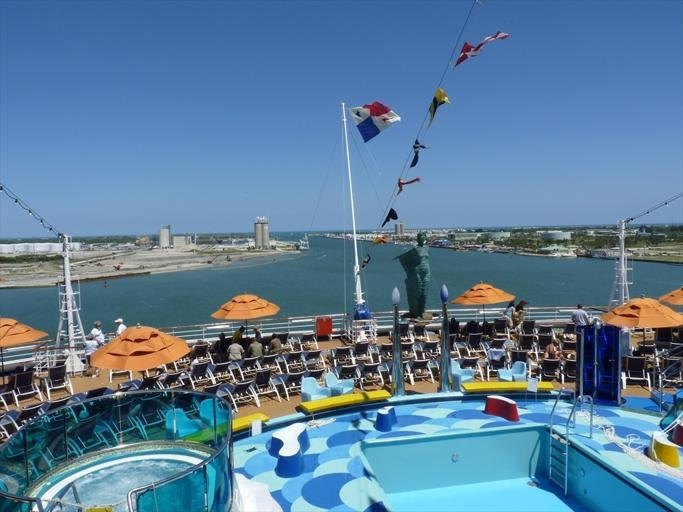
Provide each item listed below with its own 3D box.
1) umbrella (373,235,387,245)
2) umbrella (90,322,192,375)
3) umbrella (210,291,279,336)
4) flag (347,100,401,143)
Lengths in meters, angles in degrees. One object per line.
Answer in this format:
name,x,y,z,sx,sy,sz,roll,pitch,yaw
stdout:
umbrella,1.256,-0.554,18.605,0.246,0.411,0.686,7,6,21
umbrella,-4.736,2.170,12.937,1.562,0.601,1.526,9,12,35
umbrella,-3.122,1.505,17.178,2.315,0.923,2.111,-3,7,-26
flag,0.902,-3.799,15.829,1.184,0.965,0.516,-1,1,45
